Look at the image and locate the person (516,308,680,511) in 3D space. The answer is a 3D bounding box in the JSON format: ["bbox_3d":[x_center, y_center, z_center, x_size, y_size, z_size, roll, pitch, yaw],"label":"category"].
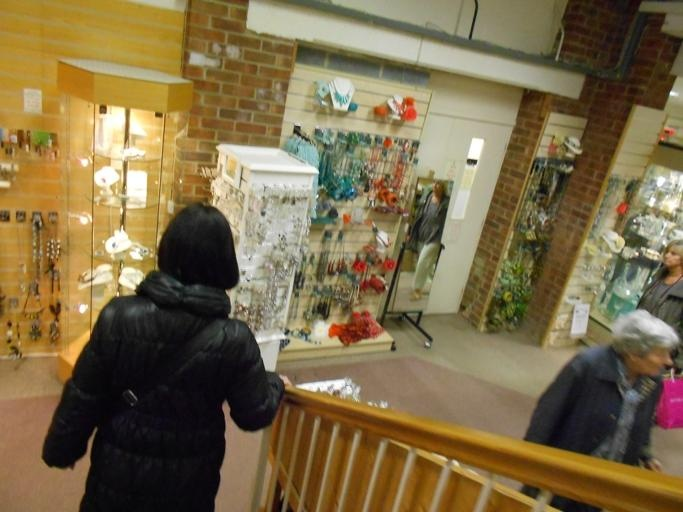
[{"bbox_3d":[1.553,0.784,2.860,0.834,0.914,0.304,6,13,-6],"label":"person"}]

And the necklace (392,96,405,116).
[{"bbox_3d":[0.628,-1.648,5.320,0.147,0.186,0.039,6,-2,-30],"label":"necklace"}]

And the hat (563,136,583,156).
[{"bbox_3d":[3.060,-1.439,6.378,0.394,0.259,0.179,-4,17,-41],"label":"hat"}]

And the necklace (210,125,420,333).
[{"bbox_3d":[-0.265,-0.353,4.869,2.077,2.519,0.856,-1,29,-32],"label":"necklace"}]
